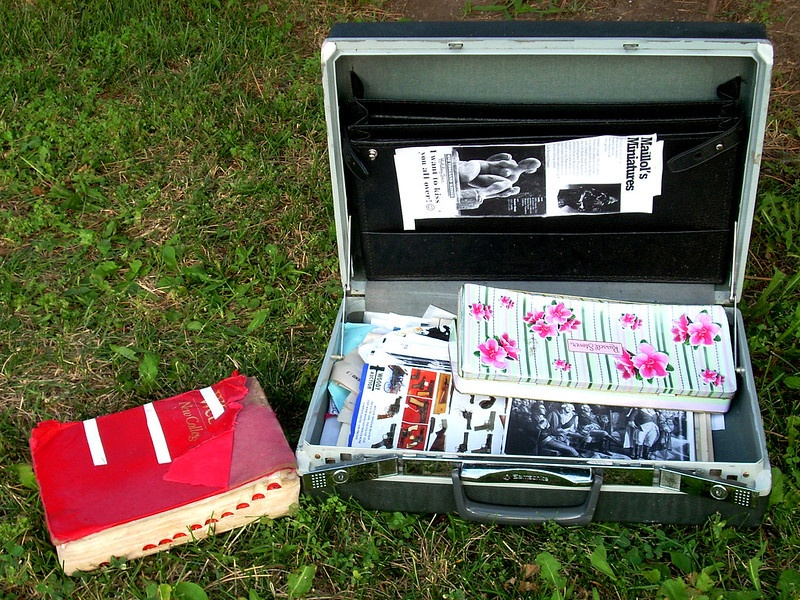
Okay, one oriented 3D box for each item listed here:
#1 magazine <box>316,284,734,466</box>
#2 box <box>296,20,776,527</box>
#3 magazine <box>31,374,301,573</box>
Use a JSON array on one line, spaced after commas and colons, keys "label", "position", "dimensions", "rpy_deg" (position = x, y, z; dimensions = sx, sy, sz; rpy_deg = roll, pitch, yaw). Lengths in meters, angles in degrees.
[{"label": "magazine", "position": [0.461, 0.373, 2.509], "dimensions": [1.184, 0.229, 0.520], "rpy_deg": [2, 70, 5]}, {"label": "box", "position": [0.381, -0.045, 1.848], "dimensions": [1.334, 1.124, 0.953], "rpy_deg": [1, 50, 2]}, {"label": "magazine", "position": [-0.643, 0.474, 1.893], "dimensions": [0.669, 0.216, 0.442], "rpy_deg": [-13, 56, -10]}]
